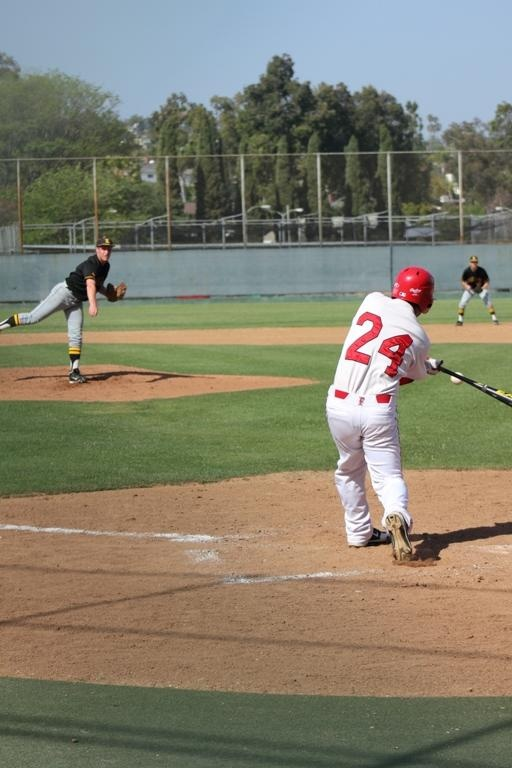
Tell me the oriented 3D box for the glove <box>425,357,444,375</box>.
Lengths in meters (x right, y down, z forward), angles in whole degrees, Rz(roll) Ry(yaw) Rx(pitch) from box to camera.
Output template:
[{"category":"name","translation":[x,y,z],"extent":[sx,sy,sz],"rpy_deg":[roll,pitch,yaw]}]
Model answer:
[{"category":"glove","translation":[0.953,-0.088,6.229],"extent":[0.097,0.041,0.096],"rpy_deg":[-27,21,51]}]

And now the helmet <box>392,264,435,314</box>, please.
[{"category":"helmet","translation":[0.837,-0.512,6.069],"extent":[0.195,0.230,0.263],"rpy_deg":[17,32,19]}]

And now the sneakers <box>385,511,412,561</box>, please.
[{"category":"sneakers","translation":[0.726,0.757,5.774],"extent":[0.103,0.262,0.113],"rpy_deg":[-11,-9,11]}]

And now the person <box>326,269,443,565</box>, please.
[{"category":"person","translation":[0.632,0.149,5.964],"extent":[0.509,1.494,0.550],"rpy_deg":[0,5,15]}]

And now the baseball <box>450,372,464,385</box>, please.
[{"category":"baseball","translation":[1.197,-0.048,6.835],"extent":[0.096,0.039,0.096],"rpy_deg":[20,-12,24]}]
